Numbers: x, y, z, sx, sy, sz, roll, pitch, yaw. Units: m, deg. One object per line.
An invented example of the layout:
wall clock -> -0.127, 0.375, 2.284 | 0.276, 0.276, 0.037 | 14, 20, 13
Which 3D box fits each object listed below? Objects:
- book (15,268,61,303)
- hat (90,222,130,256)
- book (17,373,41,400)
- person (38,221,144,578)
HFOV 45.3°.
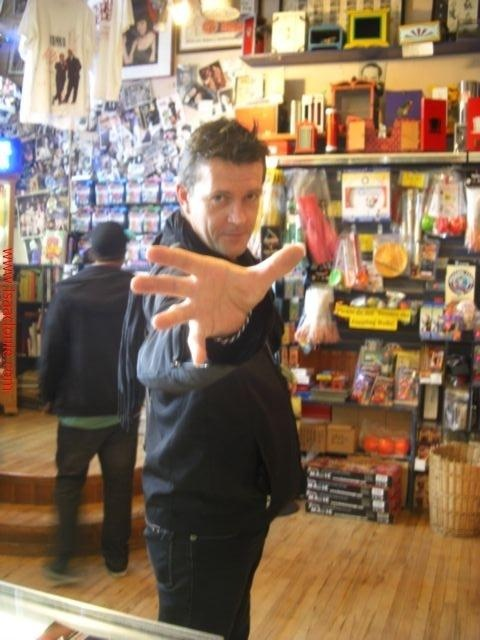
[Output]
book -> -1.656, -0.295, 4.696 | 0.170, 0.288, 0.118 | 3, 12, 5
hat -> -0.545, -0.354, 2.443 | 0.110, 0.162, 0.230 | 6, 23, 1
book -> -1.833, 0.569, 4.954 | 0.164, 0.225, 0.400 | 0, 3, -24
person -> -0.650, 0.299, 2.602 | 0.400, 1.877, 0.441 | -4, 28, -25
